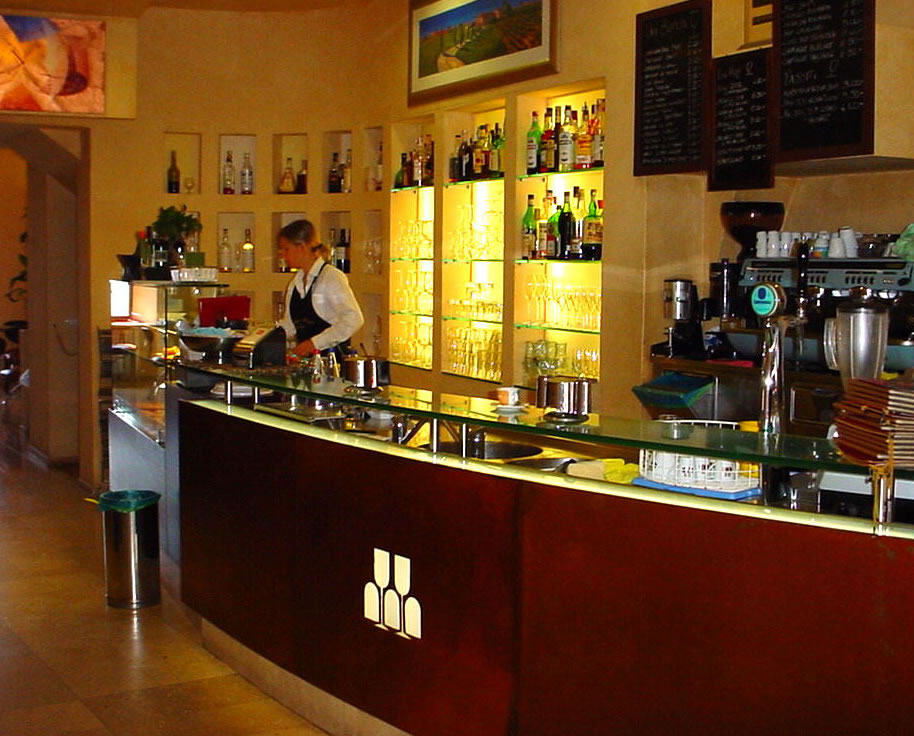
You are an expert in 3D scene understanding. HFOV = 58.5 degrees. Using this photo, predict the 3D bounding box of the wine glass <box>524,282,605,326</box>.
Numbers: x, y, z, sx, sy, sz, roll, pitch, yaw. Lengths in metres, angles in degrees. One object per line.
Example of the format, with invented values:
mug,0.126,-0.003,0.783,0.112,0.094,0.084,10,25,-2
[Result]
wine glass,0.642,-0.376,4.996,0.150,0.255,0.522,-5,7,-38

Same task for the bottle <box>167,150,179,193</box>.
bottle,-2.445,-1.695,7.018,0.117,0.394,0.202,-3,6,-19

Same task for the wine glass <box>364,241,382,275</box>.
wine glass,-0.634,-0.883,6.417,0.106,0.273,0.339,-3,6,-20

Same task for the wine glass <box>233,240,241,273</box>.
wine glass,-1.926,-0.982,7.136,0.071,0.244,0.123,-2,6,-14

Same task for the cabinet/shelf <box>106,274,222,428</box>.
cabinet/shelf,-1.601,-0.092,4.490,0.350,0.954,0.994,0,1,-33

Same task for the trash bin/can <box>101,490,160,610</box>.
trash bin/can,-1.779,0.982,4.453,0.293,0.605,0.217,-3,6,-18

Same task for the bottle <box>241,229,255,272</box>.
bottle,-1.833,-1.040,7.130,0.103,0.378,0.186,-2,6,-13

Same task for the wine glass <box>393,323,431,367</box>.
wine glass,-0.324,-0.177,6.086,0.313,0.274,0.102,3,3,38

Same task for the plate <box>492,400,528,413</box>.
plate,0.163,0.118,2.482,0.099,0.020,0.112,0,6,4

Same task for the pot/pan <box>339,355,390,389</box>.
pot/pan,-0.318,0.011,2.954,0.128,0.076,0.130,3,11,7

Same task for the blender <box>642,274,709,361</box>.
blender,1.177,-0.274,4.367,0.300,0.416,0.287,3,7,34

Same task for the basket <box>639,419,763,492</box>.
basket,0.613,0.209,2.066,0.178,0.081,0.219,8,11,35

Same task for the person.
person,-0.886,-0.526,5.227,0.496,0.875,1.026,-2,6,-13

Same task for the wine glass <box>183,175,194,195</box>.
wine glass,-2.314,-1.590,7.041,0.129,0.195,0.130,0,4,-15

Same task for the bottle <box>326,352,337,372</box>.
bottle,-0.486,-0.027,3.204,0.025,0.078,0.055,-2,7,-23

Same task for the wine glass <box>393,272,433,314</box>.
wine glass,-0.319,-0.563,6.090,0.294,0.291,0.155,6,9,33

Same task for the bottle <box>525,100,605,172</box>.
bottle,0.648,-1.376,4.875,0.496,0.452,0.163,1,-2,21

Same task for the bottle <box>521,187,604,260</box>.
bottle,0.635,-0.850,4.948,0.460,0.353,0.471,0,4,0

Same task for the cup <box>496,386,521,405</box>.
cup,0.163,0.084,2.537,0.060,0.043,0.047,0,1,-39

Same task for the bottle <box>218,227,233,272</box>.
bottle,-2.032,-1.051,7.128,0.112,0.368,0.110,-1,5,0
